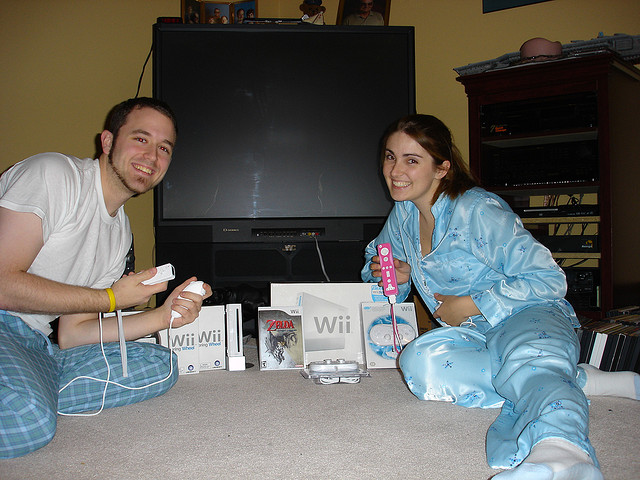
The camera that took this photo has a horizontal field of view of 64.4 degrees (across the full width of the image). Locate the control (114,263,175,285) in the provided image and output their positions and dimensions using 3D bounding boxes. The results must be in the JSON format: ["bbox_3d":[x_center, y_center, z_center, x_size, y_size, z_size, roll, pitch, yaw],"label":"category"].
[{"bbox_3d":[-0.589,0.122,1.817,0.120,0.068,0.091,-4,8,-22],"label":"control"}]

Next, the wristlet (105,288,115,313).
[{"bbox_3d":[-0.705,0.198,1.712,0.018,0.061,0.052,0,-3,-35],"label":"wristlet"}]

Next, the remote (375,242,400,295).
[{"bbox_3d":[0.298,0.126,2.182,0.069,0.235,0.033,-10,-11,3],"label":"remote"}]

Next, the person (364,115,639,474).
[{"bbox_3d":[0.688,0.383,2.256,1.156,1.246,0.964,15,-33,-27],"label":"person"}]

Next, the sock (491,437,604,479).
[{"bbox_3d":[0.577,0.560,1.277,0.250,0.088,0.127,-4,8,-22],"label":"sock"}]

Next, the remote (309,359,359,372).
[{"bbox_3d":[0.059,0.523,2.126,0.206,0.033,0.084,0,8,6],"label":"remote"}]

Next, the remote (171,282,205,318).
[{"bbox_3d":[-0.485,0.215,1.864,0.144,0.091,0.035,-46,15,-17],"label":"remote"}]

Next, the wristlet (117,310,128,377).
[{"bbox_3d":[-0.712,0.405,1.857,0.035,0.336,0.051,-18,44,-39],"label":"wristlet"}]

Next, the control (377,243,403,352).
[{"bbox_3d":[0.303,0.247,2.198,0.072,0.499,0.054,-6,-2,7],"label":"control"}]

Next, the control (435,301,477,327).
[{"bbox_3d":[0.540,0.288,1.984,0.097,0.026,0.100,-2,23,-2],"label":"control"}]

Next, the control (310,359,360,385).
[{"bbox_3d":[0.058,0.540,2.095,0.200,0.058,0.128,-1,8,-4],"label":"control"}]

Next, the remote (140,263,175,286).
[{"bbox_3d":[-0.572,0.124,1.802,0.114,0.063,0.022,-14,-29,-4],"label":"remote"}]

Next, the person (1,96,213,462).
[{"bbox_3d":[-0.799,0.045,1.809,0.762,1.118,0.444,-8,11,-42],"label":"person"}]

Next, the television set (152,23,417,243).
[{"bbox_3d":[-0.180,-0.544,3.046,1.509,1.260,0.557,2,8,7],"label":"television set"}]
